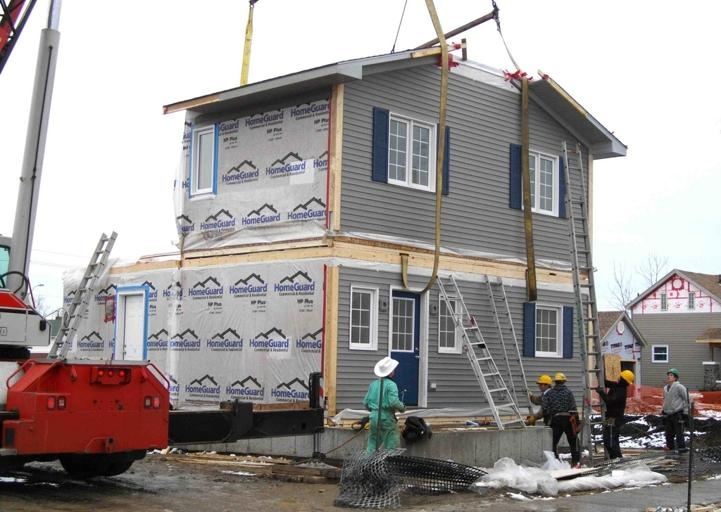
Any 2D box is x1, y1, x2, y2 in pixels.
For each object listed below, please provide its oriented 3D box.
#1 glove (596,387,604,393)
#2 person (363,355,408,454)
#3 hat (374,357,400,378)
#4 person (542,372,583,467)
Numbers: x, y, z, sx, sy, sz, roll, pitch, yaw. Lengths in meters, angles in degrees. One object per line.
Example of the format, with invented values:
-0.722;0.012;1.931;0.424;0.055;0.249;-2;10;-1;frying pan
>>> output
5.068;2.881;16.511;0.147;0.061;0.202;1;-3;-9;glove
0.398;2.468;12.768;0.632;1.534;1.570;2;-5;3;person
0.424;1.847;12.671;0.312;0.312;0.389;1;-5;6;hat
3.906;3.338;15.191;0.705;1.532;0.389;1;-5;14;person
